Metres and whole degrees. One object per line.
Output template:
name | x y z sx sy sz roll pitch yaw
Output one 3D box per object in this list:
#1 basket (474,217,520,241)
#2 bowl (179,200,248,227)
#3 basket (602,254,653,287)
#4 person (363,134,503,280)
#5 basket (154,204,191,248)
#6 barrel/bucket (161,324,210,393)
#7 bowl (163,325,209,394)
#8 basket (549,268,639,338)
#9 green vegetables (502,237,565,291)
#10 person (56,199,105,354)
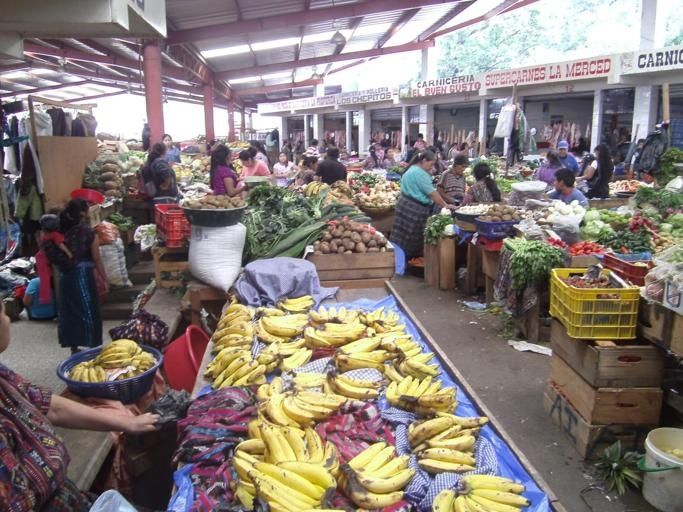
basket | 1.978 -0.348 6.092 0.402 0.145 0.279 -3 10 -13
bowl | -1.353 -0.437 5.049 0.669 0.268 0.339 -5 15 -24
basket | 2.399 0.096 3.998 0.285 0.125 0.423 11 16 15
person | 1.536 -0.912 8.042 1.034 2.573 1.074 -4 5 -43
basket | -2.075 -0.365 5.827 0.461 0.323 0.696 -1 11 -14
barrel/bucket | -1.346 0.874 4.212 0.262 0.493 0.557 -3 43 21
bowl | -1.358 0.859 4.225 0.259 0.485 0.559 -4 30 18
basket | 1.955 0.355 3.658 0.508 0.468 0.589 0 13 5
green vegetables | 2.004 0.068 5.109 0.632 0.374 0.572 -4 16 -12
person | -3.053 0.191 5.717 0.585 1.669 0.557 -7 20 -38
